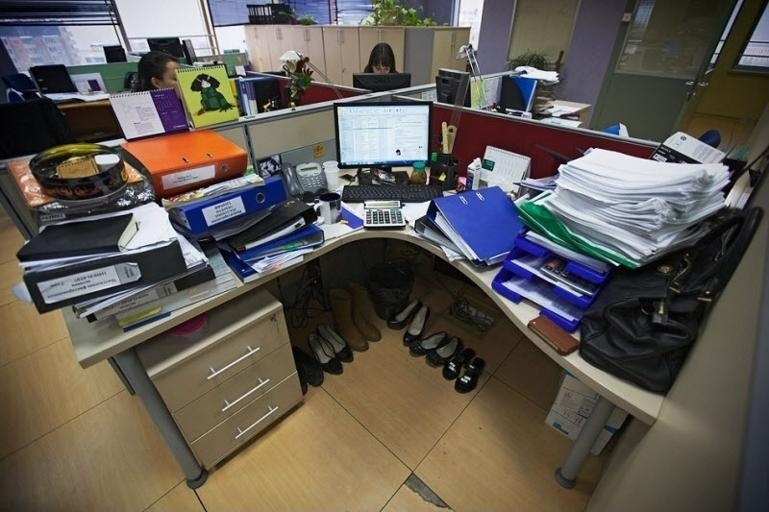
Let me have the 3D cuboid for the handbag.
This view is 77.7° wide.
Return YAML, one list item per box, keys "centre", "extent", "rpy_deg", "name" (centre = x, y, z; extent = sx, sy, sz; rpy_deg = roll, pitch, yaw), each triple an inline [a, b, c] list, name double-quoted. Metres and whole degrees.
- centre: [1.222, 0.194, 1.999]
  extent: [0.282, 0.575, 0.622]
  rpy_deg: [34, 56, 19]
  name: "handbag"

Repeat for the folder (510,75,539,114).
- centre: [1.040, -1.195, 3.538]
  extent: [0.195, 0.246, 0.145]
  rpy_deg: [6, 32, 10]
  name: "folder"

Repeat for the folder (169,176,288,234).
- centre: [-0.779, -0.257, 2.431]
  extent: [0.458, 0.102, 0.317]
  rpy_deg: [-29, 33, -34]
  name: "folder"

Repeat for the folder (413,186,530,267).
- centre: [0.493, -0.167, 2.581]
  extent: [0.510, 0.167, 0.545]
  rpy_deg: [-12, 35, -20]
  name: "folder"

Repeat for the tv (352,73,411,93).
- centre: [-0.014, -1.290, 3.560]
  extent: [0.331, 0.220, 0.096]
  rpy_deg: [-1, 58, -1]
  name: "tv"

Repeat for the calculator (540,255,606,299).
- centre: [0.845, 0.101, 2.222]
  extent: [0.189, 0.045, 0.192]
  rpy_deg: [34, 22, 35]
  name: "calculator"

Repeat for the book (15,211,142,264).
- centre: [-1.407, -0.088, 2.216]
  extent: [0.477, 0.113, 0.206]
  rpy_deg: [-7, 32, -11]
  name: "book"

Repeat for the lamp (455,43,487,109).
- centre: [0.637, -1.252, 3.360]
  extent: [0.154, 0.519, 0.301]
  rpy_deg: [9, 35, 15]
  name: "lamp"

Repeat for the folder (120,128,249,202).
- centre: [-1.092, -0.531, 2.598]
  extent: [0.644, 0.179, 0.610]
  rpy_deg: [-6, 38, -20]
  name: "folder"

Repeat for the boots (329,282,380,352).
- centre: [-0.200, 0.425, 3.240]
  extent: [0.245, 0.287, 0.308]
  rpy_deg: [-35, 50, -30]
  name: "boots"

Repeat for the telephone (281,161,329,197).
- centre: [-0.481, -0.489, 2.927]
  extent: [0.256, 0.091, 0.242]
  rpy_deg: [-16, 57, -21]
  name: "telephone"
